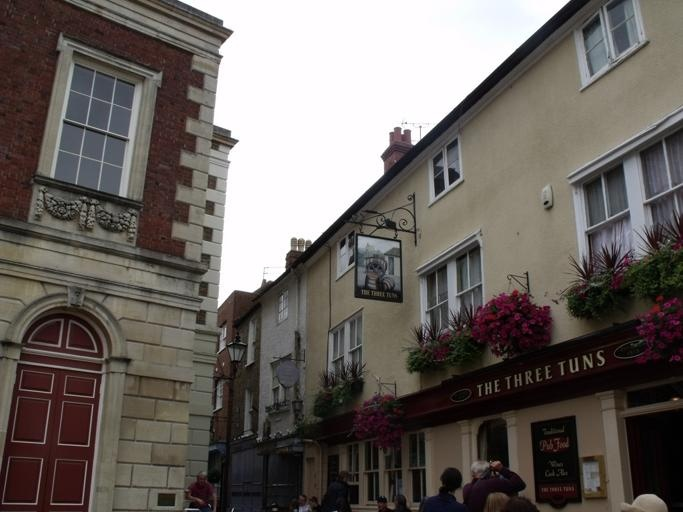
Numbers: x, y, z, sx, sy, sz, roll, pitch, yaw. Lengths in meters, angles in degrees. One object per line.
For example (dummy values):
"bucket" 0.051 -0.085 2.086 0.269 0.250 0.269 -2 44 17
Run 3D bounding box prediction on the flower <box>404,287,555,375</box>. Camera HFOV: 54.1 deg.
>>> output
"flower" 2.764 1.483 13.436 1.043 1.487 3.513 -3 -13 -33

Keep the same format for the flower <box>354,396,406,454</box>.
"flower" 0.943 4.034 15.906 1.092 1.412 1.314 -2 -12 12
